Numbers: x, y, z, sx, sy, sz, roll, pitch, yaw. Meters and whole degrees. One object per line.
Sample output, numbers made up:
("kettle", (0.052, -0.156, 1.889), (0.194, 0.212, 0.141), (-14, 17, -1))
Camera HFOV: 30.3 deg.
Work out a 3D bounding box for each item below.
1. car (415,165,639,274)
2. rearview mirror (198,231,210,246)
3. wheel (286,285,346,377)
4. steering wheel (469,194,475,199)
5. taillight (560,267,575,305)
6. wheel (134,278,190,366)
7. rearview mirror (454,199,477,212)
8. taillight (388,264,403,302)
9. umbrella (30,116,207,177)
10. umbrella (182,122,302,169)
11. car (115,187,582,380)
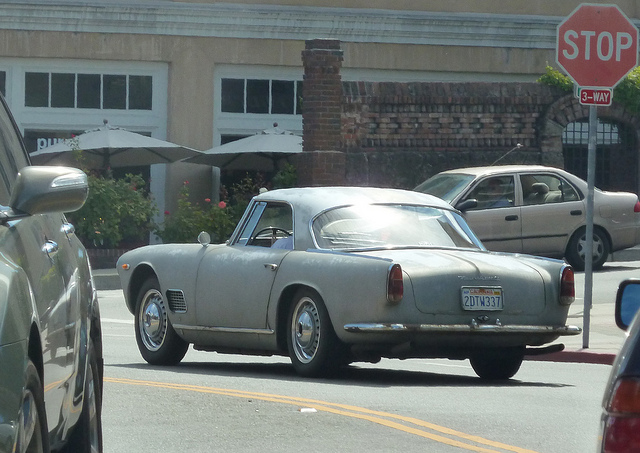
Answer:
("car", (3.739, -0.013, 21.347), (4.098, 1.544, 1.738), (2, -4, -19))
("rearview mirror", (-1.422, 0.152, 14.310), (0.182, 0.229, 0.023), (-1, -3, -28))
("wheel", (-0.034, 1.071, 12.229), (0.371, 1.060, 0.850), (2, -4, -37))
("steering wheel", (2.621, -0.507, 20.402), (0.033, 0.057, 0.213), (-7, -13, 33))
("taillight", (2.610, 0.624, 12.470), (0.129, 0.391, 0.280), (3, 6, 17))
("wheel", (-1.907, 1.098, 13.945), (0.847, 1.066, 0.293), (-5, -6, 43))
("rearview mirror", (2.460, -0.360, 19.956), (0.269, 0.116, 0.275), (-8, 1, 6))
("taillight", (0.744, 0.561, 11.769), (0.156, 0.370, 0.092), (1, 5, -11))
("umbrella", (-4.460, -1.779, 25.760), (1.926, 0.909, 1.916), (-13, -11, 37))
("umbrella", (-1.603, -1.618, 26.468), (1.755, 1.203, 2.001), (2, 11, 33))
("car", (0.009, 0.670, 14.338), (2.859, 2.244, 6.128), (4, -4, -34))
